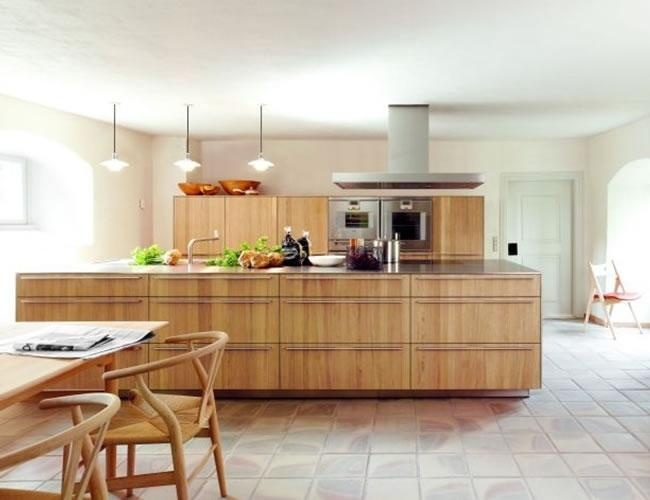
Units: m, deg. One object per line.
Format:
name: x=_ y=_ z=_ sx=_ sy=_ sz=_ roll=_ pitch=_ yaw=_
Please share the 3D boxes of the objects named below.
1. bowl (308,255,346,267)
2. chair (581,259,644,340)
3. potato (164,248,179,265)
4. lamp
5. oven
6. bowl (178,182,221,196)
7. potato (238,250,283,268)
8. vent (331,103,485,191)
bowl: x=0.015 y=0.087 z=4.901 sx=0.308 sy=0.120 sz=0.362 roll=-1 pitch=10 yaw=-2
chair: x=3.532 y=0.572 z=6.625 sx=0.597 sy=0.840 sz=1.041 roll=5 pitch=12 yaw=30
potato: x=-1.379 y=0.067 z=4.911 sx=0.143 sy=0.136 sz=0.186 roll=-4 pitch=10 yaw=-18
lamp: x=-1.600 y=-1.248 z=6.359 sx=1.926 sy=0.729 sz=2.127 roll=-2 pitch=10 yaw=-6
oven: x=0.719 y=-0.281 z=7.046 sx=1.296 sy=0.669 sz=0.418 roll=0 pitch=-10 yaw=3
bowl: x=-1.624 y=-0.786 z=7.047 sx=0.293 sy=0.082 sz=0.286 roll=1 pitch=-1 yaw=0
potato: x=-0.556 y=0.082 z=4.675 sx=0.243 sy=0.098 sz=0.183 roll=0 pitch=-5 yaw=12
vent: x=0.777 y=-0.882 z=5.581 sx=1.415 sy=0.694 sz=0.893 roll=0 pitch=-1 yaw=3
